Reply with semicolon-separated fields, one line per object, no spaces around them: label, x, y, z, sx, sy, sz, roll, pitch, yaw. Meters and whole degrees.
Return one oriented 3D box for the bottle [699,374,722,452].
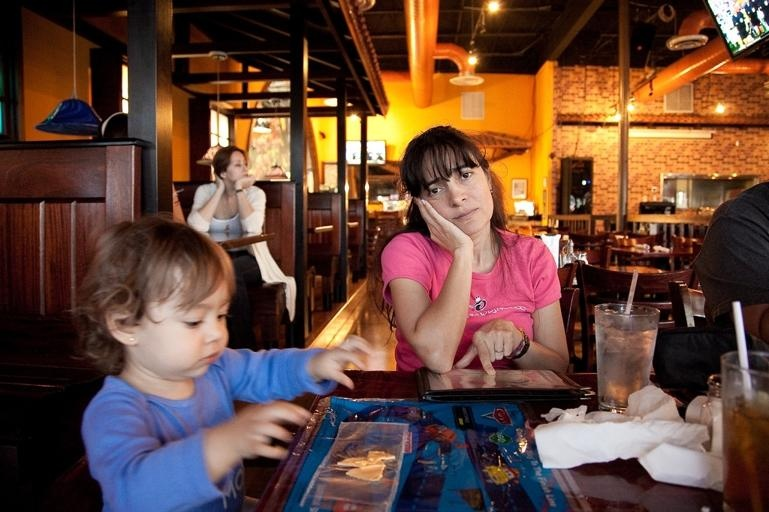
bottle;0.778;0.370;1.351;0.037;0.173;0.163;3;8;29

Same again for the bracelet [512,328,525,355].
bracelet;0.462;0.293;1.934;0.022;0.071;0.074;1;5;34

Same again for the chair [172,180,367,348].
chair;-0.816;-0.047;5.502;2.008;1.784;1.440;0;-1;5

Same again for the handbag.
handbag;0.920;0.280;1.624;0.239;0.158;0.175;-7;1;36

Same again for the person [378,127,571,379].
person;0.344;-0.029;2.087;0.674;0.913;0.694;-2;7;-12

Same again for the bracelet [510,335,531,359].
bracelet;0.464;0.320;1.955;0.078;0.024;0.079;-39;11;42
